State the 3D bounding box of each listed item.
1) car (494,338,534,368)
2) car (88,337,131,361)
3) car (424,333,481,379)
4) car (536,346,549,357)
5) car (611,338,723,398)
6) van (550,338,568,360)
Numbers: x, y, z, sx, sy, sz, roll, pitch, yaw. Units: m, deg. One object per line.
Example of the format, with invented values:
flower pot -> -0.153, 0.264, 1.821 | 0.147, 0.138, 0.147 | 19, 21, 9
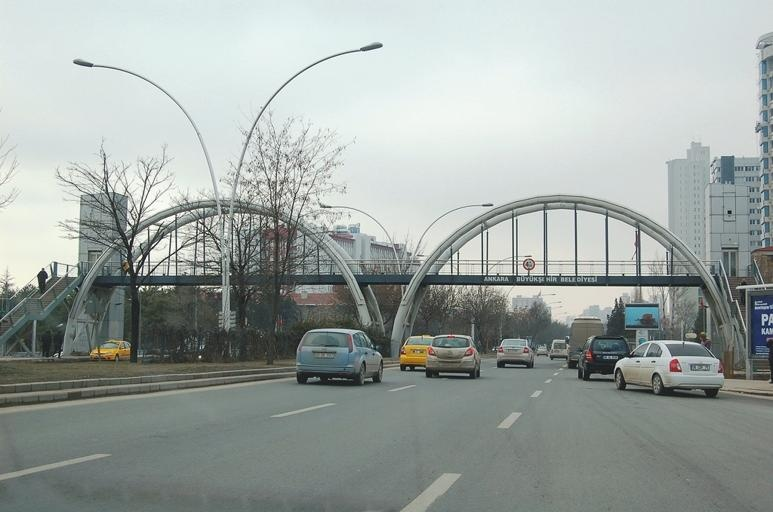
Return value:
car -> 6.932, 5.207, 51.354 | 1.851, 1.539, 1.299 | -1, -7, 2
car -> -17.781, 5.936, 60.876 | 1.419, 1.239, 2.729 | -3, -10, 12
car -> 2.763, 3.987, 38.517 | 1.410, 1.535, 3.622 | -1, -3, 11
car -> 18.401, 11.197, 112.212 | 0.939, 1.023, 2.219 | 0, 3, 12
car -> 9.460, 3.765, 32.714 | 1.560, 1.315, 3.629 | 2, -4, -11
van -> 14.925, 8.072, 82.278 | 1.301, 1.411, 2.478 | 0, 0, 9
